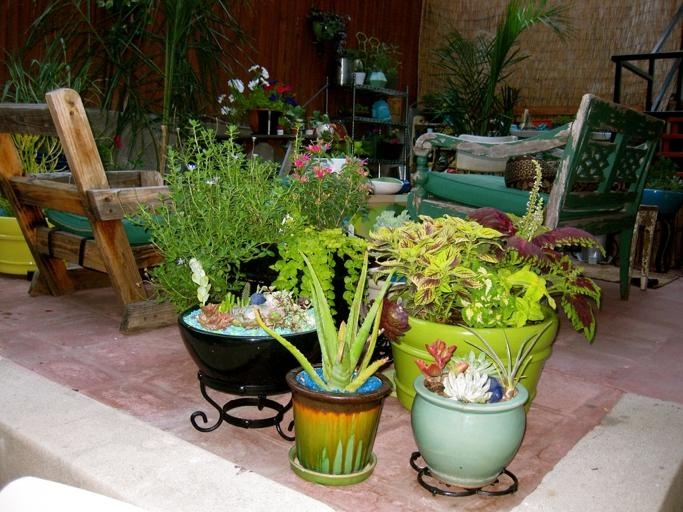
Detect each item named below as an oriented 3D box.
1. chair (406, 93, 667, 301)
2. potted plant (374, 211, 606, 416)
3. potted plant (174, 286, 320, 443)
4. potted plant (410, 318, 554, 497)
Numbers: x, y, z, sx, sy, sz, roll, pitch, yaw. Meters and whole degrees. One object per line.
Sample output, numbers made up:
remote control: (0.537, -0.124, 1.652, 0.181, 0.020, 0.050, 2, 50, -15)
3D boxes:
chair: (0.959, -0.475, 3.034, 1.049, 1.212, 1.378, -11, 23, -38)
potted plant: (0.354, 0.055, 1.530, 0.610, 0.449, 0.606, 11, 15, 35)
potted plant: (-0.256, 0.278, 1.509, 0.405, 0.271, 0.353, 5, 5, 2)
potted plant: (0.272, 0.321, 1.394, 0.351, 0.451, 0.365, -1, 9, -36)
